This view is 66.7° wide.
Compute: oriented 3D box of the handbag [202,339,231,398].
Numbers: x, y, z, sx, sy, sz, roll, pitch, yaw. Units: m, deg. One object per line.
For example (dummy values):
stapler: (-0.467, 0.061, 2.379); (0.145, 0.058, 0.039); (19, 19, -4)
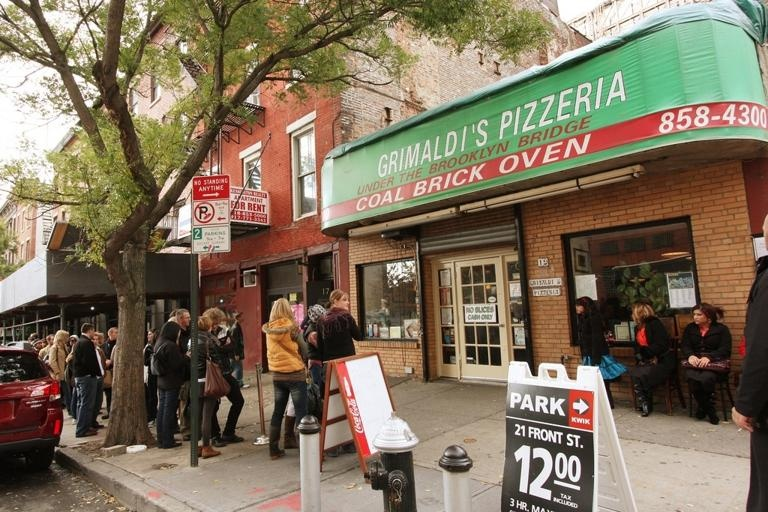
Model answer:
handbag: (-3.106, 2.132, 10.803); (0.383, 0.975, 0.780); (-24, -25, 11)

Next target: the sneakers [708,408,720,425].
sneakers: (5.934, 2.893, 10.479); (0.183, 0.260, 0.284); (-5, -7, 22)

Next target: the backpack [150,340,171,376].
backpack: (-4.357, 2.042, 11.516); (0.378, 0.699, 0.511); (1, 2, -33)

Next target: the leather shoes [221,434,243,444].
leather shoes: (-2.949, 3.566, 11.372); (0.439, 0.190, 0.159); (3, -5, -17)

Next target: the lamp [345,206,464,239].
lamp: (0.559, -0.794, 14.254); (3.215, 0.486, 0.257); (-11, -13, 36)

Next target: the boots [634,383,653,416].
boots: (5.010, 2.752, 11.223); (0.302, 0.599, 0.604); (-5, -7, 22)

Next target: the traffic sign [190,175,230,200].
traffic sign: (-3.149, -1.221, 10.662); (0.550, 0.383, 0.010); (0, 2, 1)

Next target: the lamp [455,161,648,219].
lamp: (3.439, -1.358, 12.021); (3.626, 0.363, 0.264); (-7, -8, 37)

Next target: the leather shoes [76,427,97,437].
leather shoes: (-6.482, 3.860, 12.724); (0.426, 0.184, 0.143); (2, -2, -34)

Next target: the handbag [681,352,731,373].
handbag: (5.841, 1.963, 10.587); (0.737, 0.317, 0.283); (-6, -7, 26)

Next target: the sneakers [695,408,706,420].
sneakers: (5.766, 2.903, 10.583); (0.207, 0.208, 0.145); (9, -14, -19)

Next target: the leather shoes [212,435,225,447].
leather shoes: (-3.155, 3.573, 11.175); (0.113, 0.131, 0.310); (4, -11, -40)

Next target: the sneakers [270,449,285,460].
sneakers: (-1.891, 3.530, 10.362); (0.113, 0.200, 0.296); (-1, 2, 29)

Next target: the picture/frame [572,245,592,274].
picture/frame: (4.276, 0.101, 12.502); (0.058, 0.840, 0.608); (0, -1, -38)

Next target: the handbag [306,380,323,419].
handbag: (-1.263, 2.644, 10.578); (0.321, 0.648, 0.657); (-5, -11, 9)

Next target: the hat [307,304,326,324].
hat: (-1.264, 1.127, 11.243); (0.153, 0.318, 0.398); (-2, -18, -45)

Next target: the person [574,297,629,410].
person: (4.304, 1.925, 11.720); (0.816, 2.178, 0.817); (2, -7, -36)
